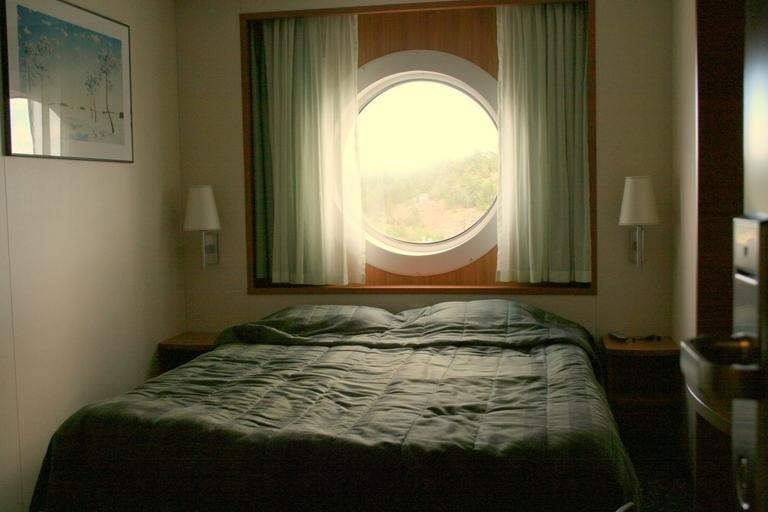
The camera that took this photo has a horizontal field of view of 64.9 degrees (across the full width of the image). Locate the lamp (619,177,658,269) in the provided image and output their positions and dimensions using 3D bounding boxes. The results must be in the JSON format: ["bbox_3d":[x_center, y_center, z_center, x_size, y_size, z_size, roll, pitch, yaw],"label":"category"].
[{"bbox_3d":[1.743,-0.220,4.135,0.238,0.645,0.277,2,15,21],"label":"lamp"}]

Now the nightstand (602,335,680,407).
[{"bbox_3d":[1.743,0.776,4.142,0.451,0.445,0.430,0,4,9],"label":"nightstand"}]

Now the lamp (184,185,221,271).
[{"bbox_3d":[-1.384,-0.213,4.645,0.260,0.649,0.339,-6,14,-14],"label":"lamp"}]

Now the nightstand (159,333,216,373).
[{"bbox_3d":[-1.479,0.708,4.563,0.537,0.339,0.543,1,-11,-17],"label":"nightstand"}]
